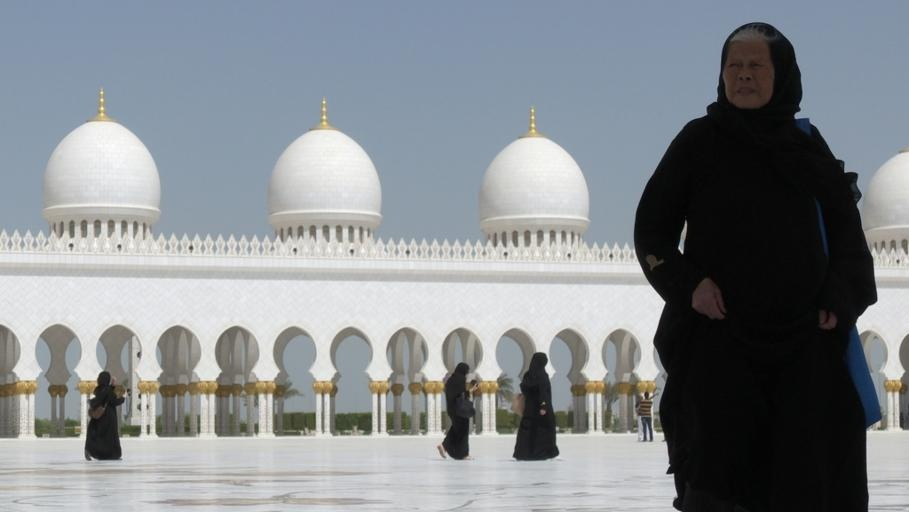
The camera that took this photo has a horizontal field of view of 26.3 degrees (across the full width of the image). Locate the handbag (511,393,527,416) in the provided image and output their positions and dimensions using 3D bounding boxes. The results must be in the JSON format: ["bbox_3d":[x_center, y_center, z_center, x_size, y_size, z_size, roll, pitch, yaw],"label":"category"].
[{"bbox_3d":[1.671,3.855,51.267,0.330,0.592,0.552,-1,2,2],"label":"handbag"}]

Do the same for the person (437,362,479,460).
[{"bbox_3d":[0.043,4.077,51.758,0.937,2.535,0.717,-1,3,3],"label":"person"}]

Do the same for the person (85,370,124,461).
[{"bbox_3d":[-9.350,4.197,51.789,0.993,2.370,0.791,-1,3,-9],"label":"person"}]

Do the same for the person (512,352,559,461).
[{"bbox_3d":[2.130,3.937,51.477,1.135,2.807,0.688,-1,3,1],"label":"person"}]

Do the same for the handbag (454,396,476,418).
[{"bbox_3d":[0.227,3.962,51.566,0.801,0.592,0.386,4,-12,-20],"label":"handbag"}]

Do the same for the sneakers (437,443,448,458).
[{"bbox_3d":[-0.355,5.208,51.959,0.304,0.419,0.217,-4,23,8],"label":"sneakers"}]
